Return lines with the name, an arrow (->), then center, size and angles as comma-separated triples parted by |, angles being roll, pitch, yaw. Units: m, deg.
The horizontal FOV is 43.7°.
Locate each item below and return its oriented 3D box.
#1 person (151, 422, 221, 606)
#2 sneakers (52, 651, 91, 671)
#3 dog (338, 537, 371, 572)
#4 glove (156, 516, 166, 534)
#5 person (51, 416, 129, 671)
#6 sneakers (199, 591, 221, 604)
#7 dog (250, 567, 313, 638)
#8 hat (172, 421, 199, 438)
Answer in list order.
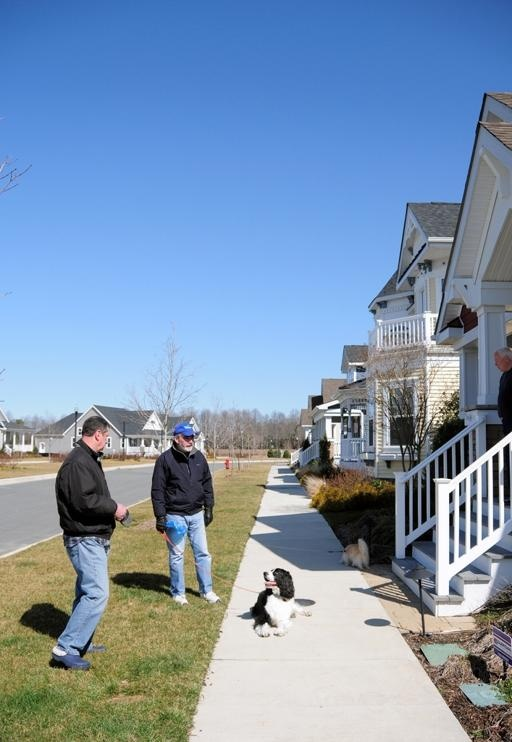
person -> -0.761, 1.526, 6.842 | 0.770, 1.541, 0.620 | -1, -1, -29
sneakers -> -1.352, 2.100, 4.688 | 0.272, 0.135, 0.141 | 7, -11, 3
dog -> 1.353, 2.552, 8.782 | 0.212, 0.319, 0.566 | 1, -16, -6
glove -> -0.971, 1.564, 6.515 | 0.144, 0.154, 0.114 | -1, 2, -19
person -> -1.297, 1.286, 4.902 | 0.561, 1.352, 0.678 | -2, -1, -20
sneakers -> -0.473, 2.428, 6.850 | 0.090, 0.095, 0.194 | 5, -11, -40
dog -> 0.221, 2.073, 5.991 | 0.505, 0.563, 0.780 | -1, -2, -3
hat -> -0.766, 0.628, 6.709 | 0.207, 0.125, 0.272 | 3, -8, -37
